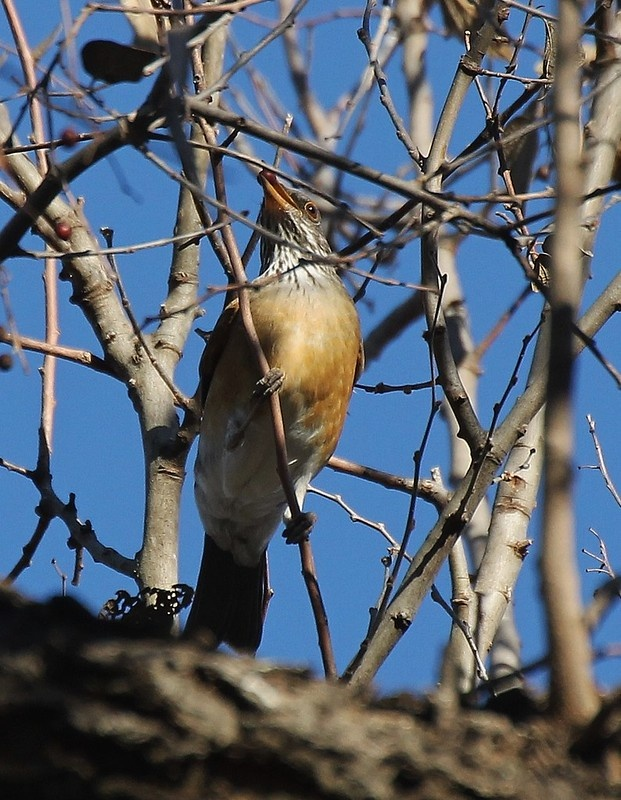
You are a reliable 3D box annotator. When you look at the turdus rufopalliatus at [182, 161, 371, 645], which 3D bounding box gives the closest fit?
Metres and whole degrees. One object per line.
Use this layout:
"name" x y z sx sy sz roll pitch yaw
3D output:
"turdus rufopalliatus" -0.154 0.076 7.380 0.496 1.047 1.819 10 -63 -10
